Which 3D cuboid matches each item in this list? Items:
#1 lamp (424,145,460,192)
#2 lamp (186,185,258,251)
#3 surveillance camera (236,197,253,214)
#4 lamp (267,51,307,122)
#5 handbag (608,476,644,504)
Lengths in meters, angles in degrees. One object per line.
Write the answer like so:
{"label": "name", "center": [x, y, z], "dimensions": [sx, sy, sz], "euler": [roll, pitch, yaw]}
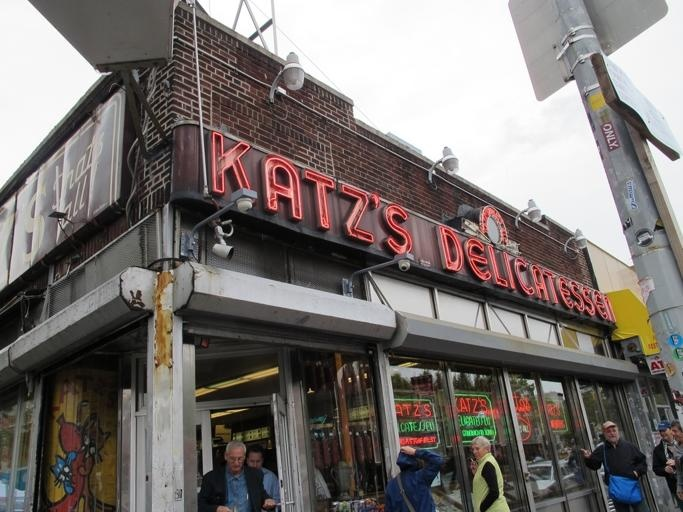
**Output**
{"label": "lamp", "center": [2.268, -2.130, 11.435], "dimensions": [0.306, 0.594, 0.734], "euler": [-11, 6, -30]}
{"label": "lamp", "center": [-1.689, -0.554, 7.111], "dimensions": [0.251, 0.572, 1.357], "euler": [22, -40, -40]}
{"label": "surveillance camera", "center": [-1.231, -0.663, 6.549], "dimensions": [0.184, 0.171, 0.192], "euler": [4, -28, -22]}
{"label": "lamp", "center": [-0.953, -2.955, 8.545], "dimensions": [0.683, 0.645, 0.391], "euler": [-15, -17, 25]}
{"label": "handbag", "center": [4.292, 3.536, 7.858], "dimensions": [0.417, 0.434, 0.302], "euler": [-17, -27, 20]}
